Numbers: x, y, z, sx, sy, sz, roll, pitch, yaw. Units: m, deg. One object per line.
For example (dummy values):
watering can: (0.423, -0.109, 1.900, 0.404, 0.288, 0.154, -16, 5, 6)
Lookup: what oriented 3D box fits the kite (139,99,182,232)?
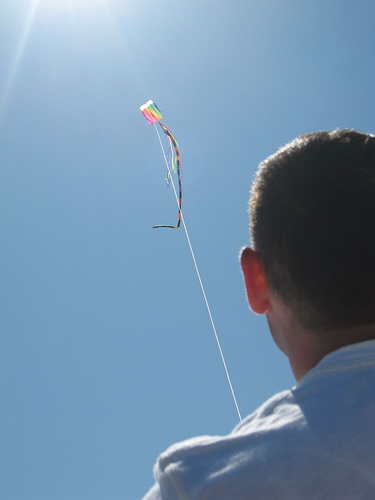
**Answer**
kite: (-0.086, -0.333, 4.414, 0.091, 0.134, 0.642, -52, -28, -39)
